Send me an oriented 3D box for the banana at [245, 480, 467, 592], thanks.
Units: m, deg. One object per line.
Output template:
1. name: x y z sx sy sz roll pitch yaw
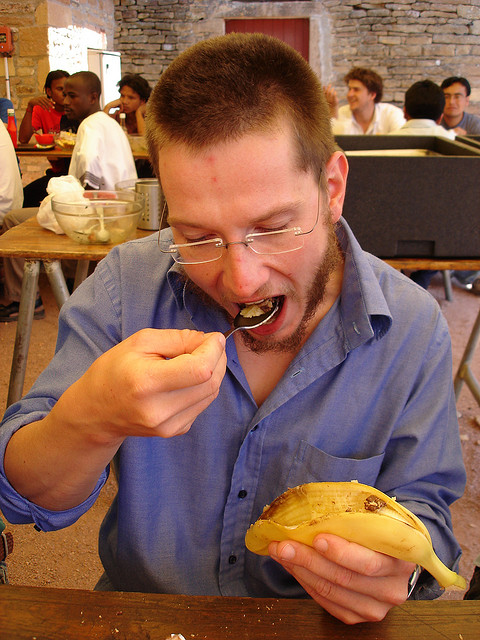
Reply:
1. banana: 0.148 0.302 0.793 0.312 0.128 0.100 -4 2 30

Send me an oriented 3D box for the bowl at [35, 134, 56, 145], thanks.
1. bowl: -1.932 -1.847 5.584 0.159 0.084 0.151 1 22 0

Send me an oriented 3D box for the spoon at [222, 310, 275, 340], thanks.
1. spoon: 0.023 -0.008 1.051 0.129 0.018 0.036 -35 68 -31

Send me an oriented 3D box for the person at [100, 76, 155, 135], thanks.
1. person: -1.410 -2.744 7.070 0.600 0.681 0.467 4 24 -12

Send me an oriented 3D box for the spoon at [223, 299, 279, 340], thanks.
1. spoon: 0.033 -0.014 1.062 0.148 0.021 0.043 -34 69 -31

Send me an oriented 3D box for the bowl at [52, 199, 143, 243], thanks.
1. bowl: -0.630 -0.438 2.451 0.354 0.157 0.359 2 14 -1

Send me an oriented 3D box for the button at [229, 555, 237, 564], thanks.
1. button: -0.013 0.473 1.096 0.013 0.018 0.004 -1 24 -15

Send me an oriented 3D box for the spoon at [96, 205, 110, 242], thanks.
1. spoon: -0.601 -0.423 2.441 0.051 0.145 0.087 -1 24 -14

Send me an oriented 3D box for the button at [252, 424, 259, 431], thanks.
1. button: 0.029 0.205 1.057 0.003 0.010 0.011 20 -19 -38
